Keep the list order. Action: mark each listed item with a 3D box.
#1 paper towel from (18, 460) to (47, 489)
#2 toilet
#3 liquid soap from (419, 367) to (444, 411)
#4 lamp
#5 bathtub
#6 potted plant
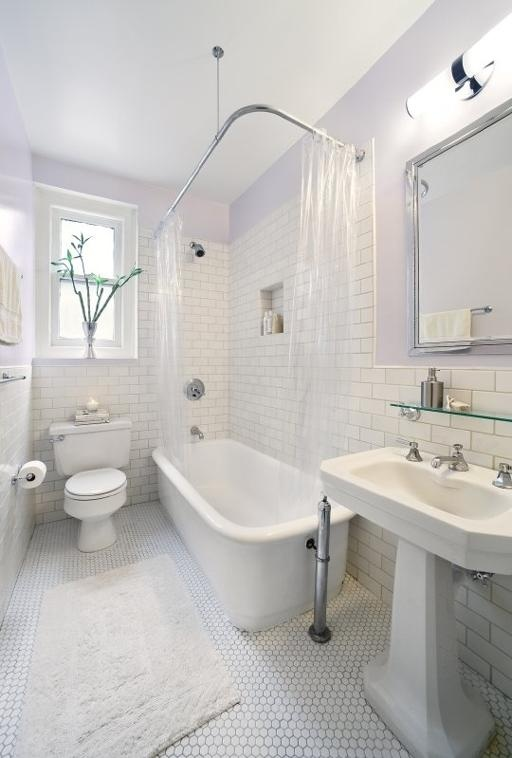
[{"bbox_3d":[-1.099,0.468,2.338,0.124,0.122,0.133,-8,16,-29],"label":"paper towel"},{"bbox_3d":[-0.969,0.602,2.879,0.460,0.789,0.642,-2,4,-29],"label":"toilet"},{"bbox_3d":[0.656,0.033,1.777,0.075,0.134,0.073,1,13,7],"label":"liquid soap"},{"bbox_3d":[0.694,-1.069,1.730,0.109,0.142,0.321,-6,16,-25],"label":"lamp"},{"bbox_3d":[-0.112,0.746,2.527,0.558,0.512,1.197,-2,7,-24],"label":"bathtub"},{"bbox_3d":[-1.154,-0.592,3.277,0.480,0.721,0.516,-1,1,9],"label":"potted plant"}]
